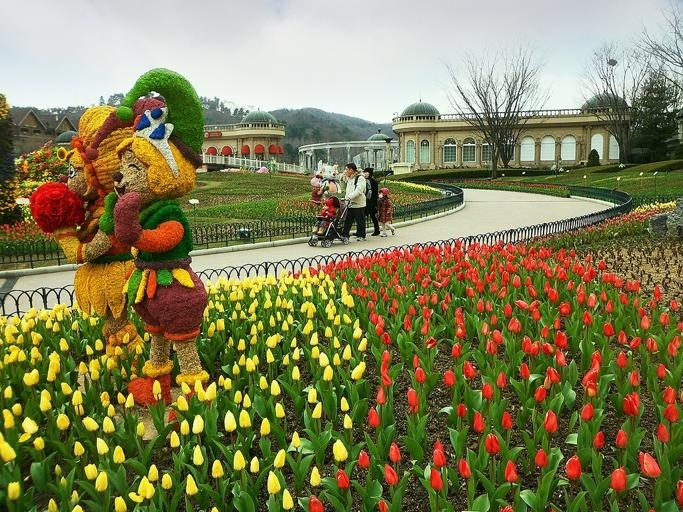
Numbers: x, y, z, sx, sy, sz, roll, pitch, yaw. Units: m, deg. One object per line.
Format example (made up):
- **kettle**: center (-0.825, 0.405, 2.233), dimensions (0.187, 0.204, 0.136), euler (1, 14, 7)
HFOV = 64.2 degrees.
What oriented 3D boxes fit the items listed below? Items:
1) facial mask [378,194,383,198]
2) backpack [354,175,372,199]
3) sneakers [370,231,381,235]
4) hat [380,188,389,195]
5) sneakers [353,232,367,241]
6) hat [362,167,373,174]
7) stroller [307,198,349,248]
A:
- **facial mask**: center (1.001, -1.564, 14.341), dimensions (0.072, 0.091, 0.086), euler (-3, -11, 3)
- **backpack**: center (0.528, -1.643, 12.942), dimensions (0.397, 0.856, 0.615), euler (-2, 11, 8)
- **sneakers**: center (0.894, -0.607, 14.829), dimensions (0.279, 0.132, 0.102), euler (1, 5, 12)
- **hat**: center (1.091, -1.684, 14.295), dimensions (0.141, 0.166, 0.200), euler (13, 9, 3)
- **sneakers**: center (0.439, -0.475, 13.975), dimensions (0.141, 0.211, 0.453), euler (1, -6, 15)
- **hat**: center (0.623, -2.085, 13.427), dimensions (0.190, 0.204, 0.153), euler (-10, 25, -26)
- **stroller**: center (-0.518, -0.822, 13.225), dimensions (1.038, 1.623, 0.907), euler (-5, 6, -31)
